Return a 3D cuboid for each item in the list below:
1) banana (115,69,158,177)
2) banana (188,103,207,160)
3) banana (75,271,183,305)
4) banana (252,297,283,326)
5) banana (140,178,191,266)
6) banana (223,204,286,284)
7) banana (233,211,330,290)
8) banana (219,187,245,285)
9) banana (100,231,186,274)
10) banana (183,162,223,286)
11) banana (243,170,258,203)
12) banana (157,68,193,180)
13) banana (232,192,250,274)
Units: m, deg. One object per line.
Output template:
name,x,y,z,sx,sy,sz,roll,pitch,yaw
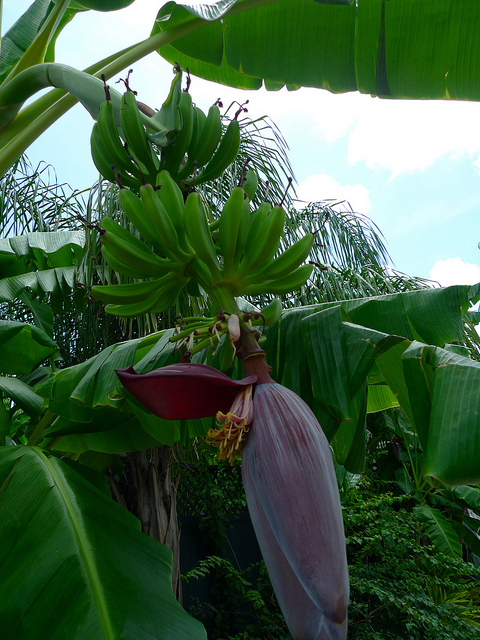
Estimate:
banana,-0.263,-0.507,1.201,0.085,0.308,0.179,-4,2,-13
banana,-0.117,-0.525,1.266,0.052,0.023,0.084,-5,-20,-4
banana,-0.209,-0.062,0.958,0.183,0.046,0.071,-4,3,-13
banana,0.052,-0.013,0.936,0.032,0.028,0.096,23,39,13
banana,-0.148,-0.187,0.928,0.044,0.206,0.053,-26,-2,-5
banana,0.023,-0.141,0.911,0.032,0.161,0.056,21,10,-29
banana,0.063,-0.136,0.920,0.248,0.104,0.041,-13,4,-28
banana,-0.017,-0.154,0.904,0.035,0.187,0.047,4,3,14
banana,-0.176,-0.123,0.968,0.048,0.085,0.238,-15,-6,37
banana,-0.069,-0.160,0.888,0.045,0.238,0.091,-11,16,5
banana,0.033,-0.352,1.293,0.035,0.127,0.043,10,-33,-11
banana,-0.137,-0.486,1.198,0.051,0.230,0.046,0,21,14
banana,0.001,-0.169,0.963,0.027,0.177,0.025,1,7,0
